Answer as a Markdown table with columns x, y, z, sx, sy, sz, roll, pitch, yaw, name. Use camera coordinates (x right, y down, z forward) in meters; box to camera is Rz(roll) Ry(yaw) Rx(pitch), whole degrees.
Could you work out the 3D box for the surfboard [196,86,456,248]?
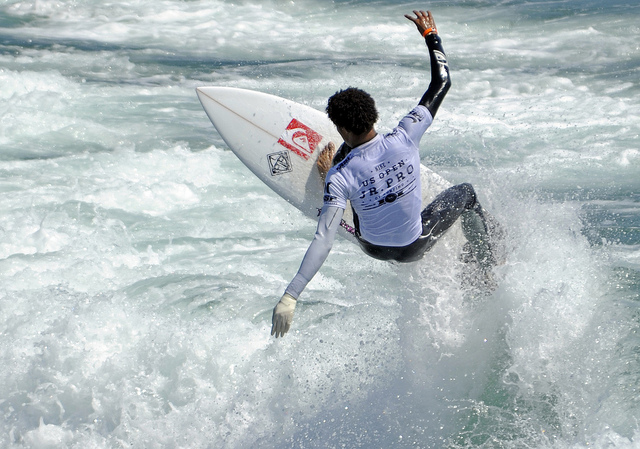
| x | y | z | sx | sy | sz | roll | pitch | yaw | name |
| --- | --- | --- | --- | --- | --- | --- | --- | --- | --- |
| -0.629 | -1.101 | 8.456 | 4.876 | 1.246 | 0.413 | 24 | -1 | 3 | surfboard |
